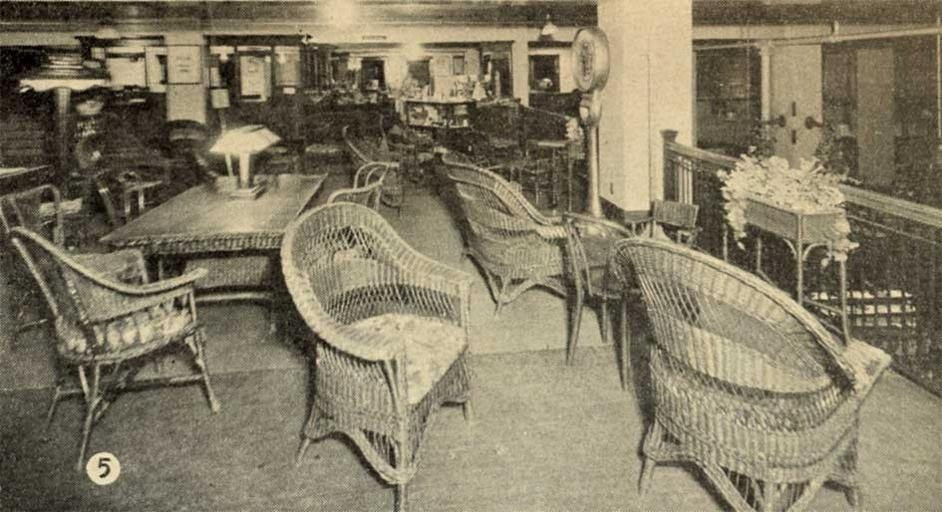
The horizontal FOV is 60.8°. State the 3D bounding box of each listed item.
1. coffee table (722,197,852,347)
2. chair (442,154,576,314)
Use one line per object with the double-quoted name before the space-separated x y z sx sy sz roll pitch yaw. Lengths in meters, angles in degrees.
"coffee table" 2.381 0.053 5.849 0.365 0.796 0.972 -3 6 6
"chair" 0.338 -0.148 6.855 1.040 1.631 0.795 -2 -1 3
